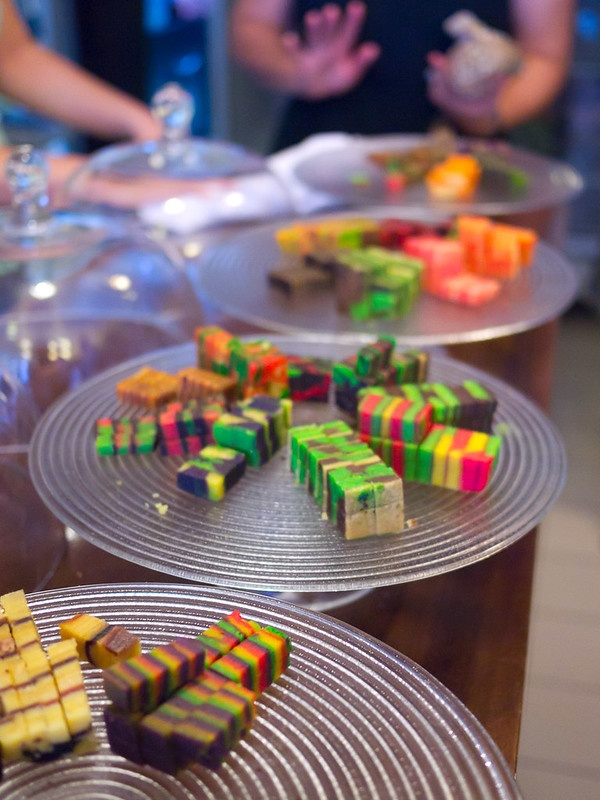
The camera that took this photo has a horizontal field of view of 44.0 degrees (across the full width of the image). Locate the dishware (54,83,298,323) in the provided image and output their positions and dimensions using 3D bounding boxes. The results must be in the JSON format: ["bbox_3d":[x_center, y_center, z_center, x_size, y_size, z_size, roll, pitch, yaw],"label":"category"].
[{"bbox_3d":[-0.161,-0.286,1.061,0.372,0.208,0.322,-5,25,-10],"label":"dishware"}]
